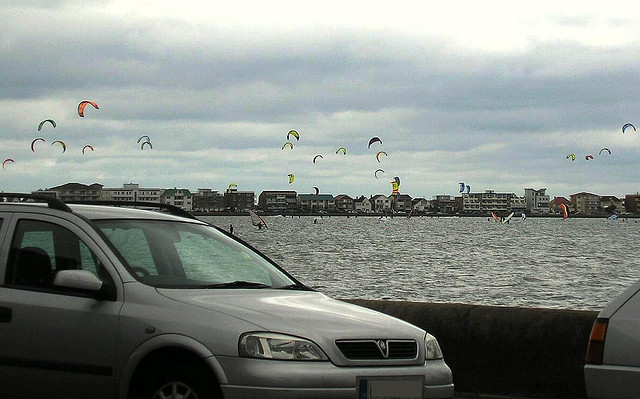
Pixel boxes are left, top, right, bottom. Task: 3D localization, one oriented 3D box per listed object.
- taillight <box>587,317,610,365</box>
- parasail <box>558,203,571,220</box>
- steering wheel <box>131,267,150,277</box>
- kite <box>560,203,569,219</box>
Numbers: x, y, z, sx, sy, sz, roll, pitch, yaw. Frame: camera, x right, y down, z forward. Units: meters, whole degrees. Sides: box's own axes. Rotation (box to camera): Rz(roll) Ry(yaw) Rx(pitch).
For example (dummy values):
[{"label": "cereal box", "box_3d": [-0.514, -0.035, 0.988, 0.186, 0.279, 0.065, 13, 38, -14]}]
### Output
[{"label": "taillight", "box_3d": [2.346, 1.208, 6.608, 0.047, 0.425, 0.242, 17, -9, -5]}, {"label": "parasail", "box_3d": [71.779, 3.698, 230.274, 1.167, 3.995, 4.388, -14, 1, -5]}, {"label": "steering wheel", "box_3d": [-1.701, 0.676, 7.448, 0.114, 0.027, 0.117, 20, 7, -3]}, {"label": "kite", "box_3d": [69.745, 3.486, 223.606, 1.250, 4.410, 4.392, -6, 0, 8]}]
